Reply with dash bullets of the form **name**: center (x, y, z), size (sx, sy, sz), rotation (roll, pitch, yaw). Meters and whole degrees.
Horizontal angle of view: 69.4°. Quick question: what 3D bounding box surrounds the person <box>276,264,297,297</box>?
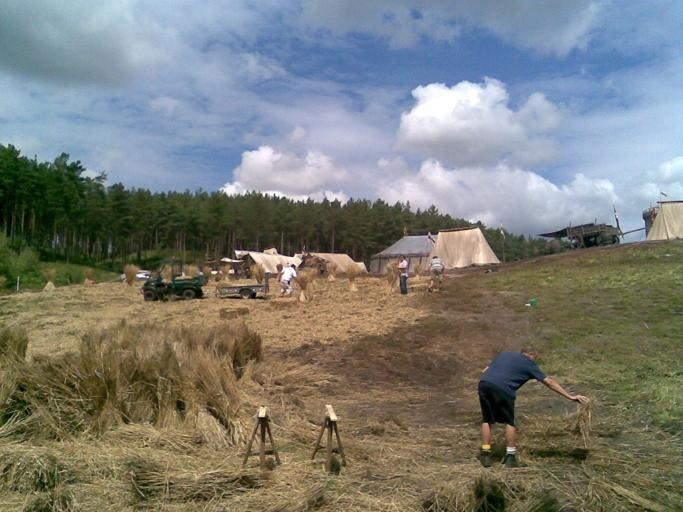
- **person**: center (-2.776, 1.286, 24.522), size (0.882, 1.915, 0.849), rotation (13, 12, 24)

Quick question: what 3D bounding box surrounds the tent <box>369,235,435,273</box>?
- **tent**: center (6.301, -0.445, 49.475), size (4.610, 2.154, 4.908), rotation (-2, -4, 33)
